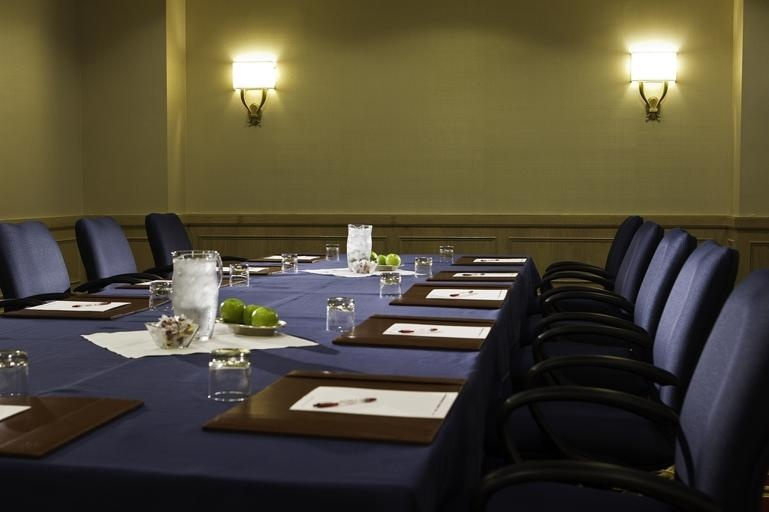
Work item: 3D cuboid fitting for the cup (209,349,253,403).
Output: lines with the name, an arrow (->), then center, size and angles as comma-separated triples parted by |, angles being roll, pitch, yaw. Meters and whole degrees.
cup -> -0.339, 0.257, 1.162 | 0.098, 0.111, 0.113 | 1, -2, -17

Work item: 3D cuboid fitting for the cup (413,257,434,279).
cup -> 0.232, 0.071, 3.060 | 0.110, 0.162, 0.117 | 0, 1, 0

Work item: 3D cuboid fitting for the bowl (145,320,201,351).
bowl -> -0.611, 0.211, 1.531 | 0.094, 0.046, 0.117 | 0, -1, 37

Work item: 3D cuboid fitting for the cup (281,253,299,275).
cup -> -0.584, 0.050, 3.234 | 0.115, 0.169, 0.117 | -1, 1, 0

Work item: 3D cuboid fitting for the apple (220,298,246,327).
apple -> -0.486, 0.182, 1.731 | 0.080, 0.085, 0.078 | -4, 9, -34

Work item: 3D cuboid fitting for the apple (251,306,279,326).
apple -> -0.372, 0.190, 1.649 | 0.063, 0.061, 0.062 | 6, -11, -43

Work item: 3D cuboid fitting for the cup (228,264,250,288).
cup -> -0.720, 0.097, 2.644 | 0.110, 0.110, 0.112 | -1, 2, 0

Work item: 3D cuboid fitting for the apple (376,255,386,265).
apple -> -0.018, 0.022, 3.178 | 0.048, 0.049, 0.048 | -14, -33, 11

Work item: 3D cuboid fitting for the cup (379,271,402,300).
cup -> 0.037, 0.133, 2.396 | 0.108, 0.152, 0.110 | 0, 6, 0

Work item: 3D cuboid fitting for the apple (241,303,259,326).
apple -> -0.423, 0.181, 1.702 | 0.054, 0.066, 0.055 | 0, -7, -2

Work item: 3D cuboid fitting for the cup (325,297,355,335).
cup -> -0.145, 0.197, 1.768 | 0.109, 0.120, 0.105 | 1, 4, 0

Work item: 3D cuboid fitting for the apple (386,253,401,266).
apple -> 0.057, 0.022, 3.200 | 0.081, 0.082, 0.082 | -1, 7, 5
